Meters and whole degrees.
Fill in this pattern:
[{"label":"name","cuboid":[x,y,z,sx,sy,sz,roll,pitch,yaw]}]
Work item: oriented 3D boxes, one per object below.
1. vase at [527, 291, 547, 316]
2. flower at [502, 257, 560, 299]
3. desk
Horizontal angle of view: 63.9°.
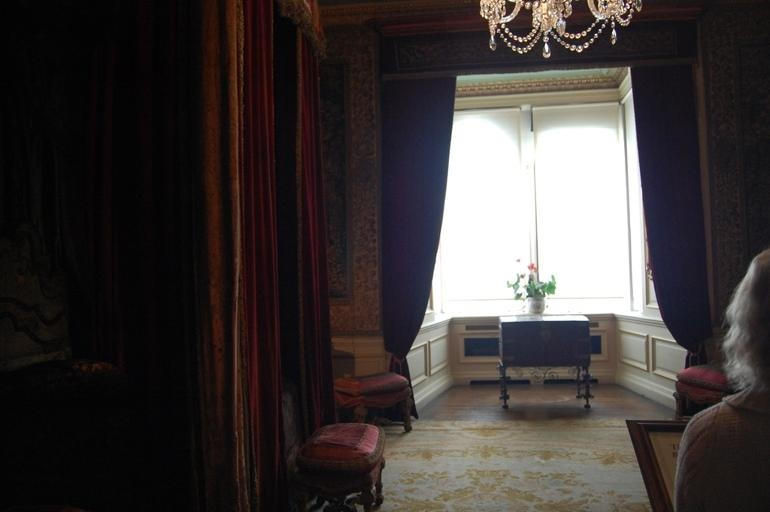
[{"label":"vase","cuboid":[1.593,0.485,6.542,0.193,0.255,0.200,0,-5,-3]},{"label":"flower","cuboid":[1.626,0.257,6.809,0.468,0.442,0.489,2,1,4]},{"label":"desk","cuboid":[1.638,1.039,6.317,0.907,0.860,0.738,0,4,10]}]
